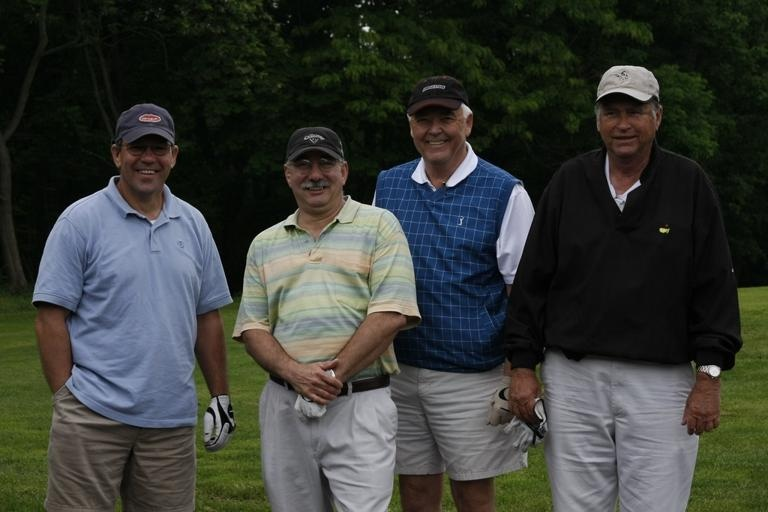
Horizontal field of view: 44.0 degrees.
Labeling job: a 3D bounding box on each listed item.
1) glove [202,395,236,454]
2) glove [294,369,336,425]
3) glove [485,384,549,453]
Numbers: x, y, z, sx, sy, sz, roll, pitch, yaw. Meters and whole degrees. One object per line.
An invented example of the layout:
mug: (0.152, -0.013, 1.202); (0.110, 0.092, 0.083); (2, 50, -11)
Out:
glove: (-1.410, 1.423, 8.044); (0.302, 0.430, 0.202); (-3, -5, -24)
glove: (-0.546, 1.124, 7.613); (0.317, 0.389, 0.184); (5, 5, 31)
glove: (1.093, 1.367, 7.812); (0.247, 0.506, 0.518); (-8, 29, -36)
